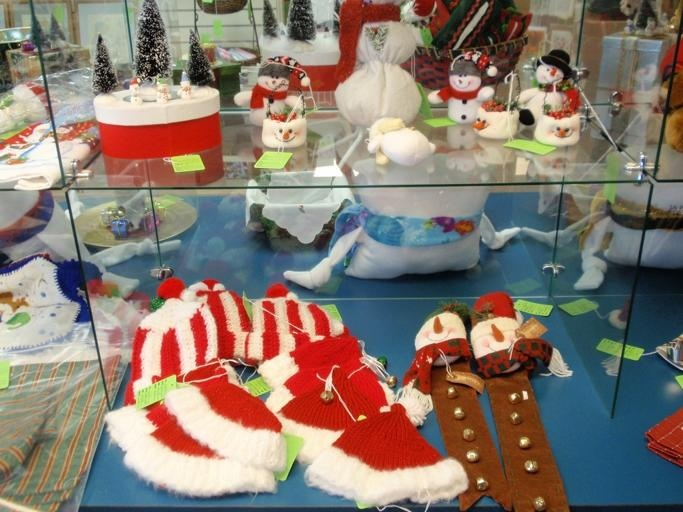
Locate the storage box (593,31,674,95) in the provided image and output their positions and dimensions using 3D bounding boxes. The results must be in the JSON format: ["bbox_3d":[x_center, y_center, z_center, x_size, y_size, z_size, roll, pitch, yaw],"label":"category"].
[{"bbox_3d":[0.801,-0.525,1.366,0.160,0.169,0.170,1,23,11],"label":"storage box"}]
